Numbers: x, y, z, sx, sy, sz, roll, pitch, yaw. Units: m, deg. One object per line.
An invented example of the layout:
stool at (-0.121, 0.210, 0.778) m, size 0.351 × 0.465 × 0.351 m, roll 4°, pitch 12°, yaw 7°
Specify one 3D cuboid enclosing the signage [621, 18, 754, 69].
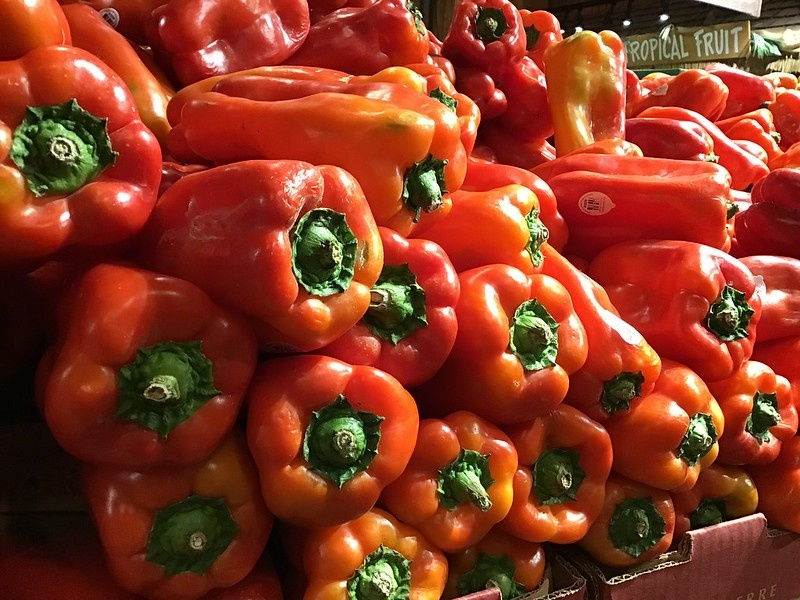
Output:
signage at (3.330, -3.018, 8.473) m, size 1.578 × 0.408 × 0.125 m, roll -9°, pitch 6°, yaw -8°
